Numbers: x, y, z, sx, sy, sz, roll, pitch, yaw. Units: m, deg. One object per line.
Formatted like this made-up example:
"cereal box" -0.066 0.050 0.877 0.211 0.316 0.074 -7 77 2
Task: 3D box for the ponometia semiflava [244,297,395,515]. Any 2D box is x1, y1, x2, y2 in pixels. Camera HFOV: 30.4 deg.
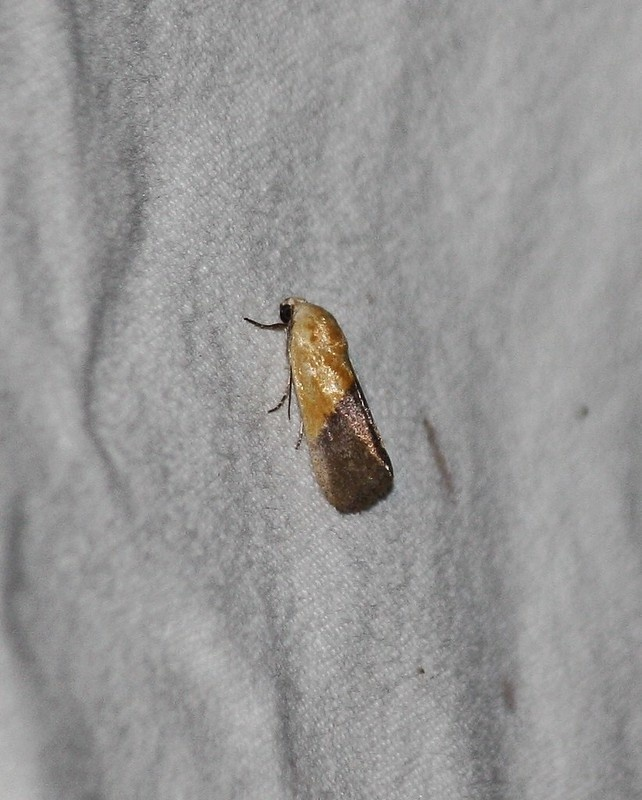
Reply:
"ponometia semiflava" 0.004 -0.004 1.562 0.134 0.100 0.355 -3 51 -26
